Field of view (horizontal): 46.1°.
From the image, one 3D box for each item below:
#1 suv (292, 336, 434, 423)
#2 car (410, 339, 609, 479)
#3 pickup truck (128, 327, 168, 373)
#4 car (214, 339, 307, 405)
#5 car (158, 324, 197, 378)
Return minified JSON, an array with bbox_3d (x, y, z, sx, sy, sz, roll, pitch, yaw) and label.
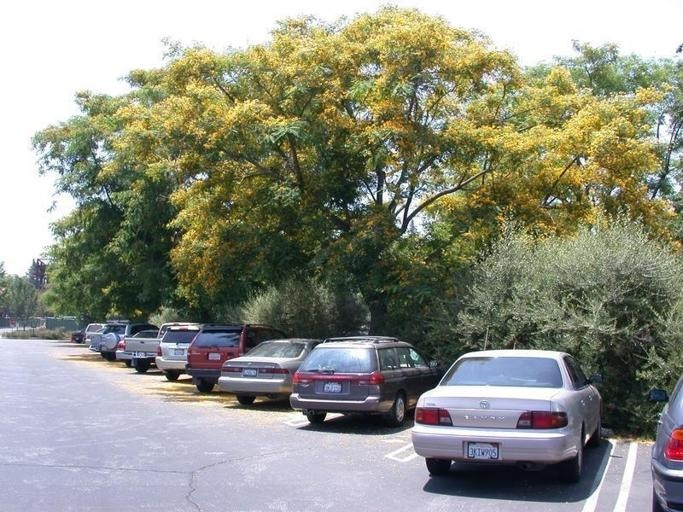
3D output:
[{"bbox_3d":[0.878,2.863,19.068,1.681,1.120,3.151,-2,-2,27],"label":"suv"},{"bbox_3d":[2.991,2.810,14.263,3.524,2.306,2.041,3,-5,-10],"label":"car"},{"bbox_3d":[-7.806,3.676,31.568,1.298,1.000,2.388,0,-2,9],"label":"pickup truck"},{"bbox_3d":[-1.960,2.911,20.425,1.181,0.852,2.600,-1,0,21],"label":"car"},{"bbox_3d":[-5.520,3.051,27.003,1.264,1.262,2.301,0,2,4],"label":"car"}]
